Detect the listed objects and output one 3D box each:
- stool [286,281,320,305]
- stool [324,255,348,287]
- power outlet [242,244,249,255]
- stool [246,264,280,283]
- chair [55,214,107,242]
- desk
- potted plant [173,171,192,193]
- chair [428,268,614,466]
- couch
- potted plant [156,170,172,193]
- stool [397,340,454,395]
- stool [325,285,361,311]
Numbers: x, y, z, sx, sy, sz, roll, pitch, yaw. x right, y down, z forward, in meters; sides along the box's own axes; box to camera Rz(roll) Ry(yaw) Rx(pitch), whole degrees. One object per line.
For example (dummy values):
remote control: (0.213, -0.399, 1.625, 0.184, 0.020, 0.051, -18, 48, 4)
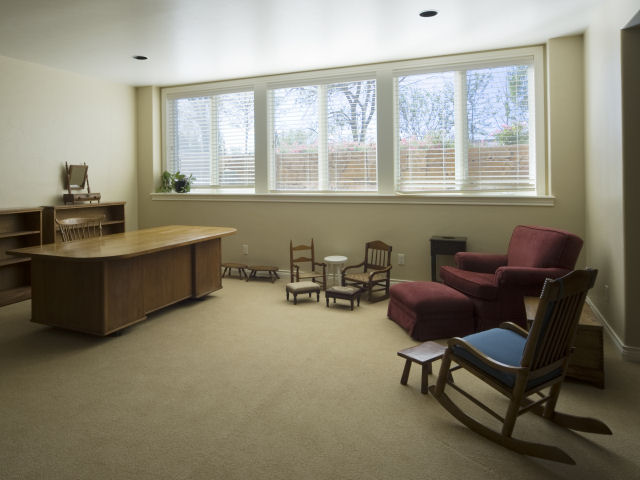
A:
stool: (-0.213, 0.619, 5.785, 0.420, 0.249, 0.462, -4, 7, -13)
stool: (0.163, 0.402, 6.288, 0.363, 0.451, 0.362, 2, -1, -43)
power outlet: (-1.121, 0.139, 7.100, 0.108, 0.151, 0.018, 1, 8, 24)
stool: (-0.874, 0.469, 6.862, 0.580, 0.204, 0.325, 0, 8, 21)
chair: (-3.006, -0.152, 5.874, 0.143, 0.349, 0.363, 3, 6, 2)
desk: (-1.987, 0.423, 5.010, 1.085, 0.916, 1.946, 2, 8, 31)
potted plant: (-2.156, -0.897, 7.399, 0.284, 0.243, 0.314, 2, 0, -28)
chair: (1.396, 0.770, 3.334, 1.111, 1.208, 0.782, 10, 13, 43)
couch: (1.705, 0.400, 5.024, 1.671, 1.146, 1.318, 1, 5, -2)
potted plant: (-2.491, -0.937, 7.581, 0.169, 0.342, 0.362, -9, 10, -42)
stool: (0.832, 0.928, 3.799, 0.323, 0.383, 0.593, 7, 7, 38)
stool: (0.280, 0.657, 5.599, 0.415, 0.235, 0.404, 0, 7, 19)
